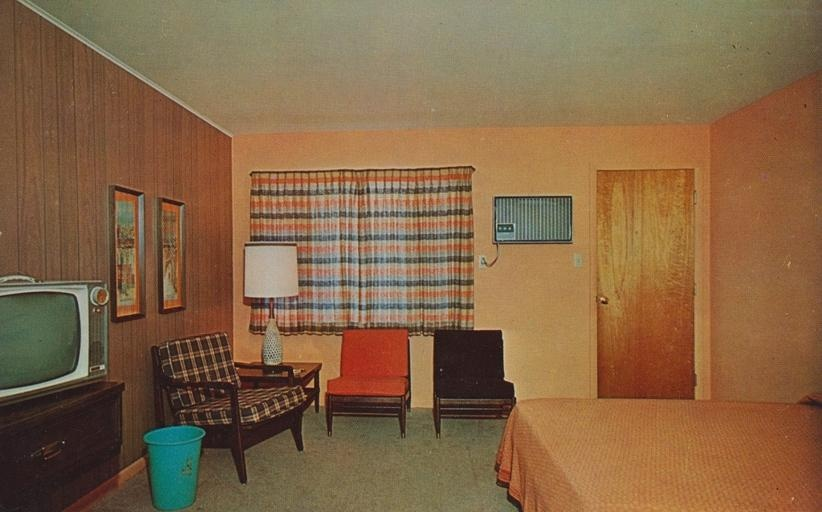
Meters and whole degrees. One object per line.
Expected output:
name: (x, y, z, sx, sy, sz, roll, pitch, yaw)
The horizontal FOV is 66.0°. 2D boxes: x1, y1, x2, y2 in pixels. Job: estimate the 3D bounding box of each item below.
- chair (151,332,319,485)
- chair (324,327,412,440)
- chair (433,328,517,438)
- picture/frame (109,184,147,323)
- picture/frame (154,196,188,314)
chair: (-1.701, 1.338, 5.944, 1.399, 1.181, 1.115, 1, 0, 20)
chair: (-0.417, 1.270, 6.353, 0.812, 1.011, 0.686, -1, -2, -1)
chair: (0.605, 1.262, 6.294, 0.766, 0.992, 0.782, -1, -2, 1)
picture/frame: (-2.491, -0.014, 5.563, 0.103, 1.169, 0.360, -1, -1, 14)
picture/frame: (-2.274, 0.001, 5.999, 0.069, 1.075, 0.364, -1, -1, 18)
